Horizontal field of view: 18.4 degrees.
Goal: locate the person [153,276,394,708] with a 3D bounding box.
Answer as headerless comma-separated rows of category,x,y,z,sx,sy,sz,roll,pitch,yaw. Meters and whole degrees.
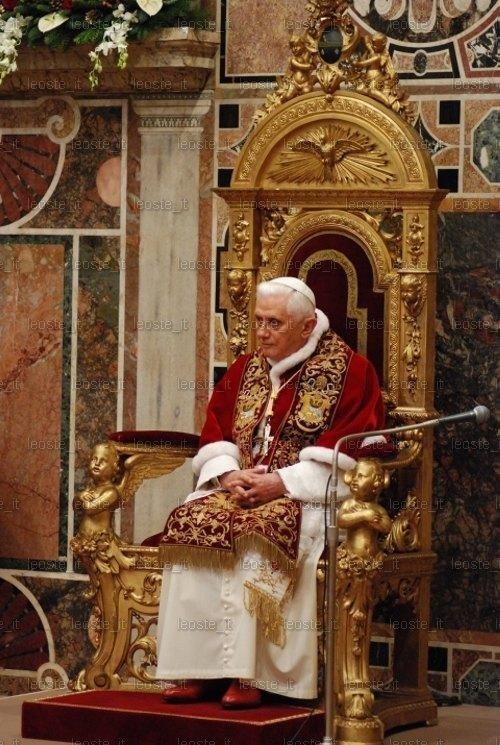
person,0.074,0.316,4.403,0.554,1.246,0.513,-1,-12,19

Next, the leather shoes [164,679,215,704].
leather shoes,-0.159,0.868,4.210,0.147,0.063,0.052,10,-13,-32

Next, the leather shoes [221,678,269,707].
leather shoes,-0.010,0.858,4.114,0.046,0.090,0.128,-22,-30,23
